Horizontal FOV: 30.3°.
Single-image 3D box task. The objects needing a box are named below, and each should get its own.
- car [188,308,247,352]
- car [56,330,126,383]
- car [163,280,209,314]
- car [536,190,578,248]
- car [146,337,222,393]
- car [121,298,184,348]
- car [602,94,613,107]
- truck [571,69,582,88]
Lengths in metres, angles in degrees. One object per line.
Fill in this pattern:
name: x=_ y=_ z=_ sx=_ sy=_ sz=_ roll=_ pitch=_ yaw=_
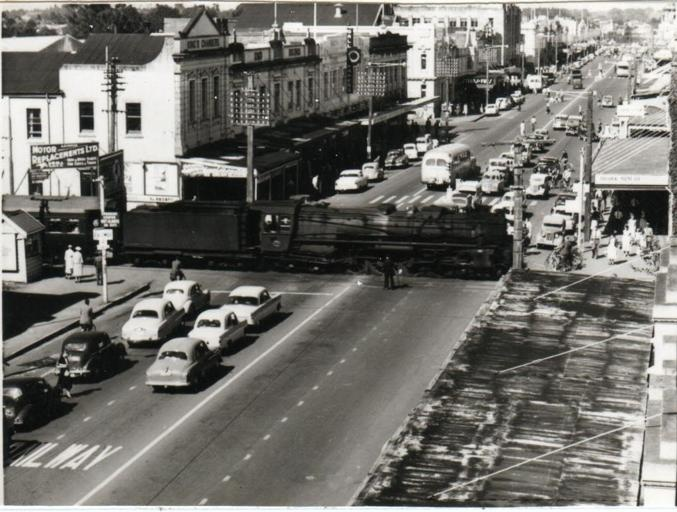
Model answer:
car: x=-5.574 y=3.459 z=59.442 sx=1.415 sy=1.214 sz=2.701 roll=3 pitch=13 yaw=11
car: x=-11.269 y=4.501 z=57.549 sx=2.223 sy=2.428 sz=2.711 roll=-1 pitch=8 yaw=5
car: x=-7.786 y=2.094 z=64.880 sx=1.308 sy=1.139 sz=2.357 roll=4 pitch=12 yaw=17
car: x=13.928 y=-2.168 z=79.908 sx=1.816 sy=1.864 sz=5.850 roll=0 pitch=13 yaw=19
car: x=-7.583 y=4.752 z=56.588 sx=3.093 sy=2.226 sz=4.016 roll=1 pitch=8 yaw=15
car: x=-8.912 y=3.058 z=61.000 sx=2.195 sy=2.507 sz=2.476 roll=-2 pitch=8 yaw=6
car: x=30.606 y=-17.539 z=142.821 sx=1.056 sy=0.904 sz=2.438 roll=4 pitch=20 yaw=20
truck: x=34.007 y=-24.990 z=179.329 sx=1.695 sy=2.503 sz=4.963 roll=2 pitch=16 yaw=14
